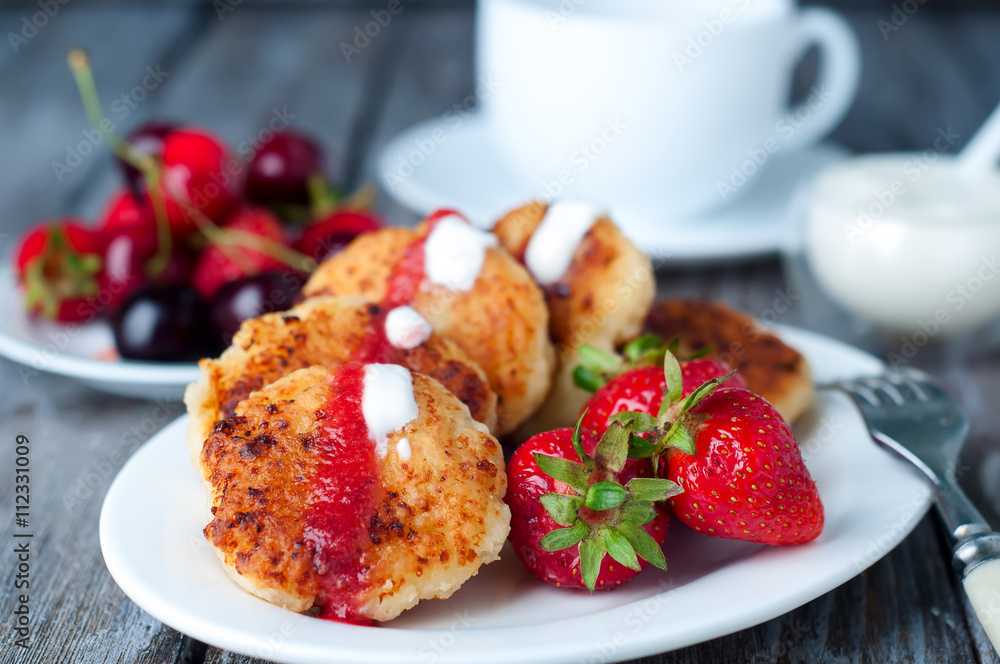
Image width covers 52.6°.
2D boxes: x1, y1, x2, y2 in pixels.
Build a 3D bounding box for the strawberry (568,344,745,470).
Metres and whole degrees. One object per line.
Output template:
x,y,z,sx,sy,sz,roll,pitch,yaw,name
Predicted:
0.290,0.120,1.814,0.236,0.236,0.162,-18,98,-6,strawberry
